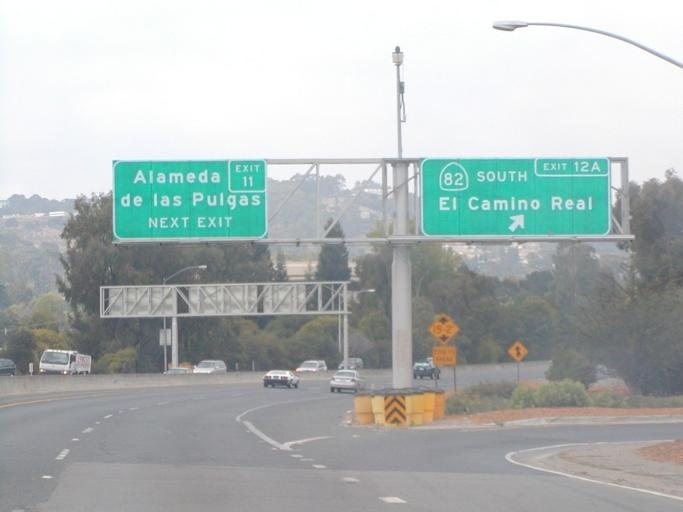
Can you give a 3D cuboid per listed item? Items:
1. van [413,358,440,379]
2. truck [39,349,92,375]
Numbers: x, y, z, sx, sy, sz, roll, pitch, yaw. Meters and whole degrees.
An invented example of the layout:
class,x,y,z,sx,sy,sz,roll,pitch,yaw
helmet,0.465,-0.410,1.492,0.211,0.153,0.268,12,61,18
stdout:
class,x,y,z,sx,sy,sz,roll,pitch,yaw
van,6.418,9.323,131.547,1.583,1.424,3.609,1,1,19
truck,-21.411,8.407,128.648,2.220,1.934,4.369,-2,-11,11
